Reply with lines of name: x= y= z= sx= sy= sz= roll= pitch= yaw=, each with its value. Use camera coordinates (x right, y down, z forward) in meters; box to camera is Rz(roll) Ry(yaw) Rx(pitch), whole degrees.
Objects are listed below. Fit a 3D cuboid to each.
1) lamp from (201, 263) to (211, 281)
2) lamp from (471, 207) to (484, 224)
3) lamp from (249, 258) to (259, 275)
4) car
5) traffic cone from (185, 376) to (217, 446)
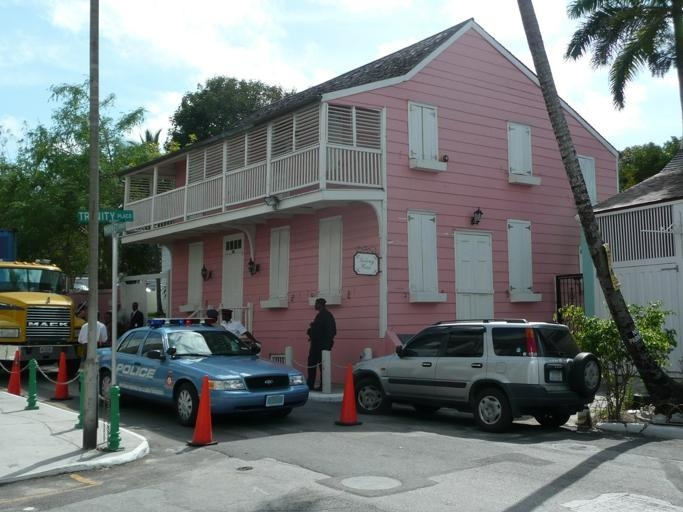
lamp: x=-4.897 y=0.553 z=24.247 sx=0.624 sy=0.604 sz=0.174 roll=-7 pitch=-11 yaw=41
lamp: x=4.052 y=-1.187 z=19.973 sx=0.503 sy=0.570 sz=0.207 roll=8 pitch=-11 yaw=-43
lamp: x=-2.927 y=0.317 z=21.973 sx=0.517 sy=0.519 sz=0.229 roll=-8 pitch=-12 yaw=44
car: x=-2.748 y=2.186 z=13.158 sx=3.757 sy=2.055 sz=1.742 roll=-5 pitch=-10 yaw=30
traffic cone: x=-2.308 y=2.554 z=11.179 sx=0.422 sy=1.116 sz=0.406 roll=2 pitch=-8 yaw=-11
